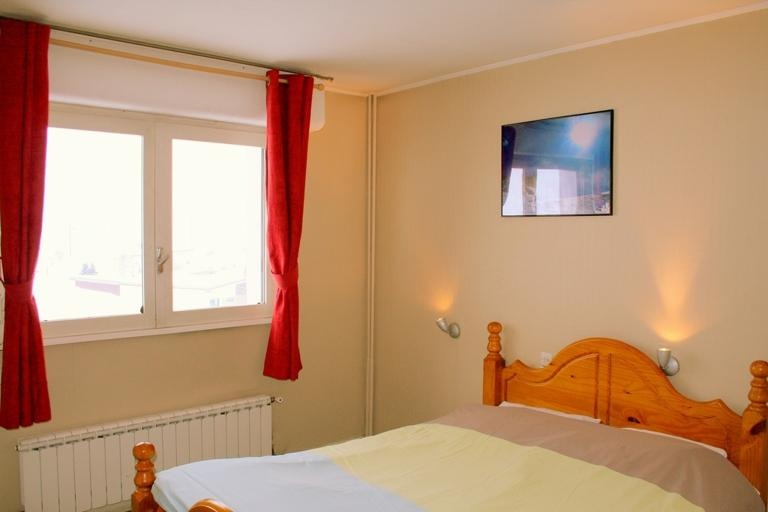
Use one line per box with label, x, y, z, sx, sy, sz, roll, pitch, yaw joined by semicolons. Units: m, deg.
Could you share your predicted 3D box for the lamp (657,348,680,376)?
lamp;1.764;0.660;3.372;0.134;0.185;0.076;0;7;7
